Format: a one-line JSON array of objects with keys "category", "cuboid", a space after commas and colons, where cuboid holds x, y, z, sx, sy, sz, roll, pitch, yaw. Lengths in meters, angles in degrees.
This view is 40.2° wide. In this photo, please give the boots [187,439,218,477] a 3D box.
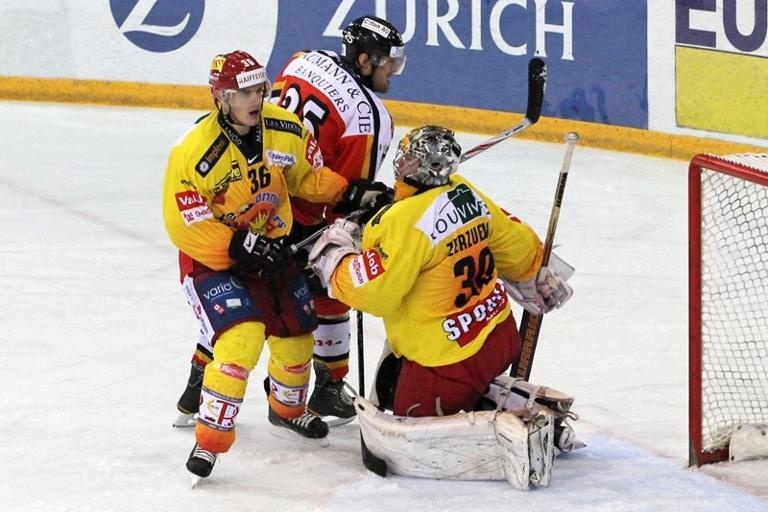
[{"category": "boots", "cuboid": [-0.960, 1.039, 5.392, 0.158, 0.084, 0.295, 27, 9, -12]}]

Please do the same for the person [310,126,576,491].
[{"category": "person", "cuboid": [0.338, 0.244, 5.468, 1.366, 1.793, 0.658, 6, 8, 9]}]

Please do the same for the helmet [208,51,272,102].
[{"category": "helmet", "cuboid": [-0.759, -0.926, 5.482, 0.268, 0.272, 0.297, -24, 22, -29]}]

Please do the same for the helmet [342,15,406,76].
[{"category": "helmet", "cuboid": [-0.053, -1.207, 6.030, 0.394, 0.311, 0.305, 12, 24, -4]}]

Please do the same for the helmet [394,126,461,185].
[{"category": "helmet", "cuboid": [0.199, -0.527, 5.497, 0.345, 0.321, 0.432, 0, -5, -21]}]
